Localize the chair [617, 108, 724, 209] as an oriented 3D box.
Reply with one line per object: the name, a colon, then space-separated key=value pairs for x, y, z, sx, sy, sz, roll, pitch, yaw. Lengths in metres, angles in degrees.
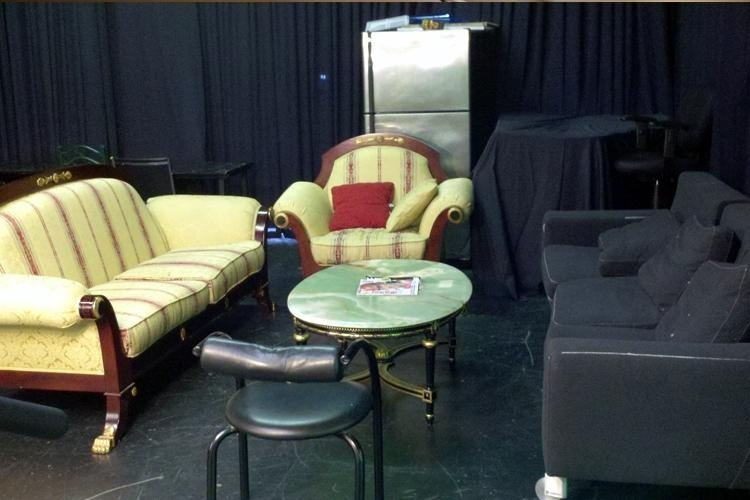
chair: x=2.070 y=-0.696 z=4.804 sx=0.746 sy=0.807 sz=0.725 roll=-1 pitch=11 yaw=1

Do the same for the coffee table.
coffee table: x=0.047 y=0.374 z=3.251 sx=0.921 sy=0.506 sz=0.891 roll=3 pitch=18 yaw=16

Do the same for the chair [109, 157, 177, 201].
chair: x=-1.803 y=-0.594 z=4.979 sx=0.405 sy=0.483 sz=0.375 roll=0 pitch=37 yaw=-3
